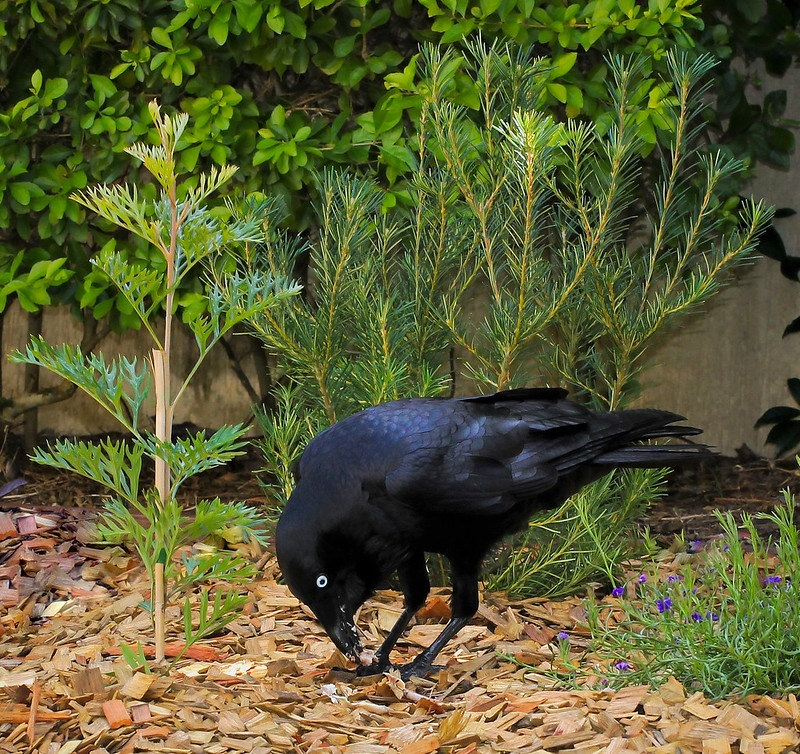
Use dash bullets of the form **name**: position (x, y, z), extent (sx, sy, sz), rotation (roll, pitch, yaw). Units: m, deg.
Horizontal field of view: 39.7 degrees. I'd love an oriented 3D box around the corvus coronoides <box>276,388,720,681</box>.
- **corvus coronoides**: position (0.306, 0.450, 3.667), extent (1.823, 0.751, 0.652), rotation (-15, 7, -41)
